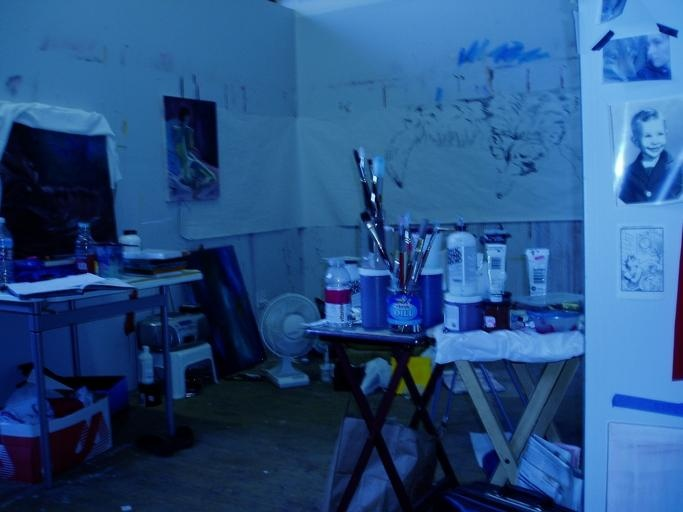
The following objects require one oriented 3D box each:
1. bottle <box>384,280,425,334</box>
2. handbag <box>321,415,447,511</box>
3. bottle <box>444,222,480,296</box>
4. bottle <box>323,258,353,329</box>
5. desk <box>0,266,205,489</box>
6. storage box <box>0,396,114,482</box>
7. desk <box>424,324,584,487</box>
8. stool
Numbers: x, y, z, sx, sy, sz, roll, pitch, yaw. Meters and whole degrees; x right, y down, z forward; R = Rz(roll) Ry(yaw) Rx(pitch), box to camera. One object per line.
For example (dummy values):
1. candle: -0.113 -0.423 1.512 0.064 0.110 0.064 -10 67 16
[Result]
1. bottle: 0.274 0.222 2.660 0.179 0.206 0.180 0 9 -5
2. handbag: 0.174 0.961 2.939 0.527 0.538 0.376 -3 7 -6
3. bottle: 0.535 0.031 2.691 0.138 0.275 0.081 0 10 8
4. bottle: -0.014 0.157 2.873 0.129 0.290 0.235 -1 10 -2
5. desk: -1.538 0.519 3.785 1.375 1.030 1.112 3 8 33
6. storage box: -1.691 1.002 3.480 0.397 0.209 0.411 -1 13 39
7. desk: 0.774 0.513 3.018 0.702 0.897 0.891 -2 -1 14
8. stool: -1.178 0.866 4.661 0.372 0.285 0.382 -7 -7 43
